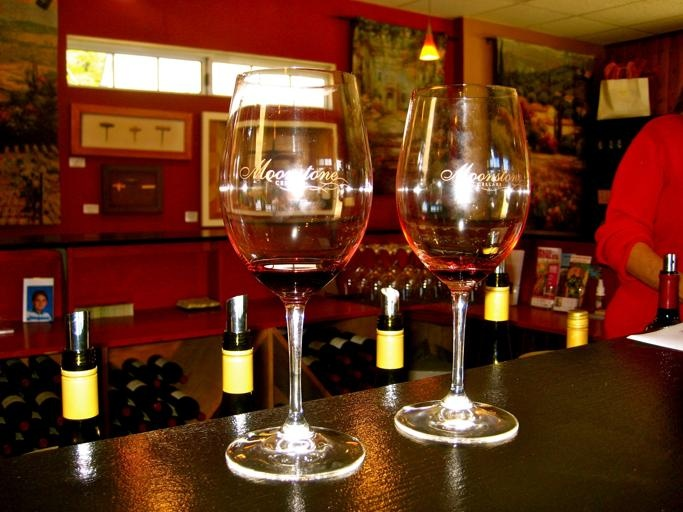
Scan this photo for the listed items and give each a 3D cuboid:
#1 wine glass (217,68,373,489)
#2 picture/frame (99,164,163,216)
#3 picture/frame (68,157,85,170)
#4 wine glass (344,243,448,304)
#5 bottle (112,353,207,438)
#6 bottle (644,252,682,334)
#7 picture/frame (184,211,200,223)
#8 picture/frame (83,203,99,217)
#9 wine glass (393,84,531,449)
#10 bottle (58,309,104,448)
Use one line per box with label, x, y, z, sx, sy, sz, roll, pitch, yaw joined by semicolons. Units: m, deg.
wine glass;-0.033;0.006;0.499;0.138;0.330;0.130;-2;9;-10
picture/frame;-1.545;-0.490;4.338;0.447;0.358;0.047;0;1;-5
picture/frame;-1.890;-0.658;4.137;0.097;0.066;0.013;-2;11;-22
wine glass;0.223;0.098;2.663;0.327;0.155;0.475;0;-1;-4
bottle;-0.815;0.597;2.556;0.378;0.278;0.295;-3;9;-21
bottle;0.535;0.065;0.964;0.050;0.124;0.202;4;10;28
picture/frame;-1.189;-0.308;4.598;0.102;0.072;0.013;0;9;-16
picture/frame;-1.817;-0.330;4.203;0.105;0.071;0.014;0;8;-17
wine glass;0.121;-0.005;0.599;0.131;0.332;0.213;2;9;17
bottle;-0.380;0.175;0.846;0.046;0.182;0.043;1;5;0
